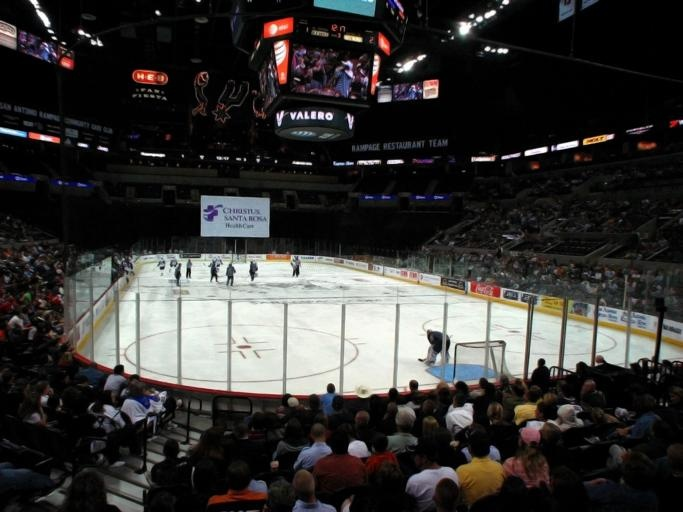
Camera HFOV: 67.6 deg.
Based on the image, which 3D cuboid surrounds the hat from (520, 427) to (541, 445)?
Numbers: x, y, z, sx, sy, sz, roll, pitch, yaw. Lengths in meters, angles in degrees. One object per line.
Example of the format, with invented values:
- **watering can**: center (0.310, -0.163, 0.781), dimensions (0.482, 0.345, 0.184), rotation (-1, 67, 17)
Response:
- **hat**: center (3.153, 2.997, 8.552), dimensions (0.284, 0.162, 0.345), rotation (1, 16, 5)

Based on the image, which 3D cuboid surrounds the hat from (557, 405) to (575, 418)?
- **hat**: center (4.078, 2.766, 9.227), dimensions (0.317, 0.165, 0.207), rotation (-6, 12, -35)
